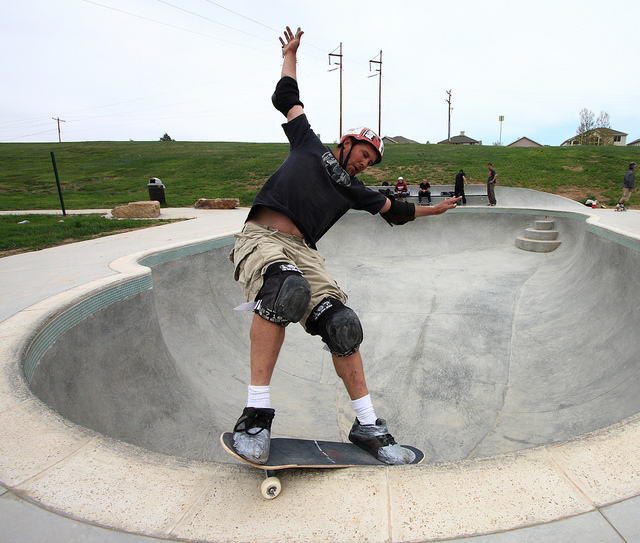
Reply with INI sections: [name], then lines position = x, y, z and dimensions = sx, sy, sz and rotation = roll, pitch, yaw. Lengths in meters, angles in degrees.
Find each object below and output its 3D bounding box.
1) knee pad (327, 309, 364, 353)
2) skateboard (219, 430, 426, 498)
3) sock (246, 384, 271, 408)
[knee pad]
position = 0.127, 0.326, 2.337
dimensions = 0.189, 0.191, 0.192
rotation = -7, 15, -13
[skateboard]
position = 0.109, 0.934, 2.186
dimensions = 1.177, 0.197, 0.403
rotation = 11, -6, -23
[sock]
position = -0.323, 0.653, 2.198
dimensions = 0.127, 0.115, 0.114
rotation = 3, -10, -10
